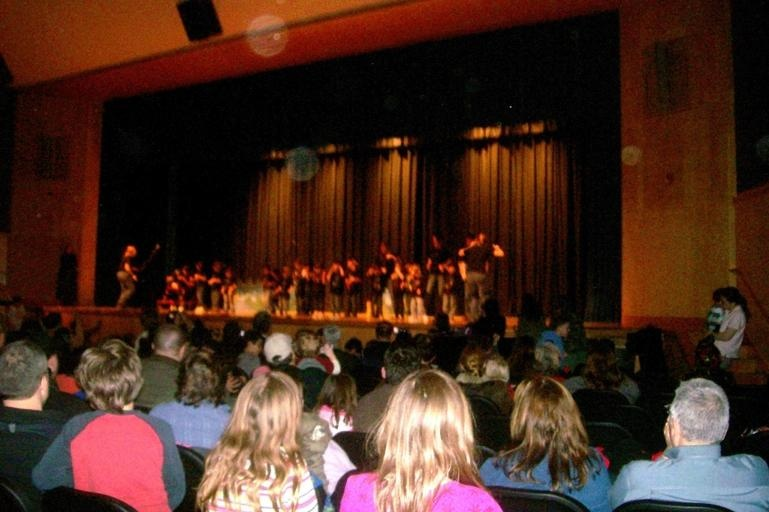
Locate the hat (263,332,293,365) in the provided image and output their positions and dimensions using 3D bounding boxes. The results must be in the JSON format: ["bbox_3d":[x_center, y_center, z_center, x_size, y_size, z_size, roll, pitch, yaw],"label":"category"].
[{"bbox_3d":[-1.119,0.978,6.810,0.257,0.237,0.424,11,4,6],"label":"hat"}]

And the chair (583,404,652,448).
[{"bbox_3d":[1.966,1.362,5.546,0.513,0.447,0.376,3,-11,-44],"label":"chair"}]
